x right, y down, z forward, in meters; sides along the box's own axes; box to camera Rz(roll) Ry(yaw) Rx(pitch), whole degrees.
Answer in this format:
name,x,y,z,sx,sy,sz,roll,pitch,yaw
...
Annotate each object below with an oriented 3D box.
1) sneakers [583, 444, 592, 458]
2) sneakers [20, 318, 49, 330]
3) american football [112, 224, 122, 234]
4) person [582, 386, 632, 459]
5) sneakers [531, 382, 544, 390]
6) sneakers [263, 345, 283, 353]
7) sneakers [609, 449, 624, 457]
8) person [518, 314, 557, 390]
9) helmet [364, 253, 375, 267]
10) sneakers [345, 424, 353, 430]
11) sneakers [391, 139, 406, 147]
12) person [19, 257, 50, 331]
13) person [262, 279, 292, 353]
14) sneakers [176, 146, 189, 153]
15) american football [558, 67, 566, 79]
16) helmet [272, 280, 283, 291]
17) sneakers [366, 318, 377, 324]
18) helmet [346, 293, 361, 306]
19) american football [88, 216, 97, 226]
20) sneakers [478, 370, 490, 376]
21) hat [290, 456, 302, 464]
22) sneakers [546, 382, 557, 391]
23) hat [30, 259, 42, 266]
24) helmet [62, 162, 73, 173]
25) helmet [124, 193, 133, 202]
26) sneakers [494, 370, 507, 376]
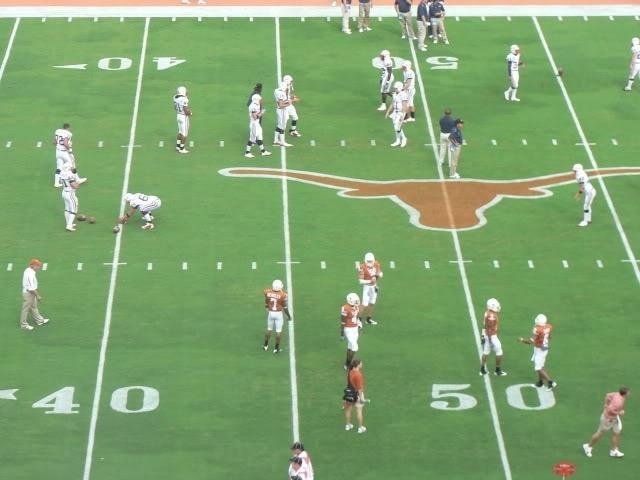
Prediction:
name,x,y,z,sx,sy,sz,roll,pitch,yaw
sneakers,5.626,4.351,21.364,0.122,0.135,0.284,-15,73,-34
sneakers,-6.762,1.932,24.048,0.662,0.261,0.195,-11,59,-8
american football,-5.407,-0.295,27.046,0.175,0.079,0.226,0,33,4
person,6.059,3.870,21.496,0.955,1.559,0.678,13,44,18
sneakers,4.880,3.239,22.877,0.274,0.082,0.111,2,-9,8
sneakers,-1.097,2.512,23.656,0.489,0.192,0.144,-2,57,-10
sneakers,6.181,4.391,21.248,0.277,0.117,0.144,-1,43,7
person,4.967,2.243,22.803,0.803,1.811,1.338,6,36,13
helmet,1.193,0.432,24.135,0.241,0.247,0.263,1,-7,-3
sneakers,0.607,3.966,21.833,0.109,0.076,0.191,3,15,9
sneakers,2.389,-2.881,30.488,0.540,0.218,0.183,2,12,36
person,-6.815,1.219,23.809,0.705,1.673,0.751,-6,36,-4
person,-1.078,1.521,23.633,0.702,1.885,1.364,-6,36,-3
sneakers,-4.084,-2.653,30.057,0.256,0.095,0.165,6,21,32
american football,7.922,-5.495,33.557,0.329,0.292,0.085,-5,-1,-4
helmet,-1.004,0.974,22.967,0.215,0.225,0.261,9,43,14
sneakers,1.220,1.920,24.493,0.235,0.085,0.117,10,32,18
helmet,0.725,1.285,22.567,0.267,0.346,0.286,0,35,3
american football,-6.130,-0.533,27.287,0.190,0.122,0.178,1,11,1
sneakers,3.721,2.978,23.145,0.237,0.100,0.078,-5,62,0
hat,-0.464,4.046,18.899,0.178,0.151,0.154,-12,-2,12
sneakers,5.132,3.240,22.886,0.287,0.193,0.096,-20,28,50
hat,-6.616,0.475,23.546,0.287,0.187,0.219,-4,-17,-7
helmet,-6.874,-1.963,27.683,0.342,0.364,0.384,-1,-11,-15
helmet,-5.100,-1.132,26.837,0.226,0.272,0.302,4,9,-1
sneakers,4.105,2.987,23.155,0.213,0.082,0.120,0,20,1
